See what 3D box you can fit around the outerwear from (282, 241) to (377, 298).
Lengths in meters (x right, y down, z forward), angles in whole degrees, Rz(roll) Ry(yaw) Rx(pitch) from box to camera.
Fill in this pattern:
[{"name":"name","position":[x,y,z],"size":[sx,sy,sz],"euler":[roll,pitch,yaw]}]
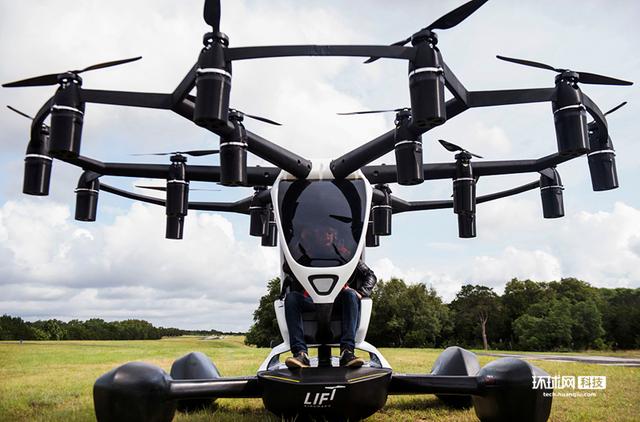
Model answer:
[{"name":"outerwear","position":[0.700,1.471,14.365],"size":[1.843,0.646,1.778],"euler":[24,-14,-5]}]

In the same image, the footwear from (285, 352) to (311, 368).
[{"name":"footwear","position":[-0.425,2.987,12.599],"size":[0.531,0.378,0.228],"euler":[21,-36,-29]}]

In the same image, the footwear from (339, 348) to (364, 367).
[{"name":"footwear","position":[0.648,2.956,12.640],"size":[0.487,0.361,0.264],"euler":[0,-10,3]}]

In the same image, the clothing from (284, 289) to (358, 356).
[{"name":"clothing","position":[0.042,2.391,13.397],"size":[1.511,1.510,1.240],"euler":[1,-34,-1]}]
